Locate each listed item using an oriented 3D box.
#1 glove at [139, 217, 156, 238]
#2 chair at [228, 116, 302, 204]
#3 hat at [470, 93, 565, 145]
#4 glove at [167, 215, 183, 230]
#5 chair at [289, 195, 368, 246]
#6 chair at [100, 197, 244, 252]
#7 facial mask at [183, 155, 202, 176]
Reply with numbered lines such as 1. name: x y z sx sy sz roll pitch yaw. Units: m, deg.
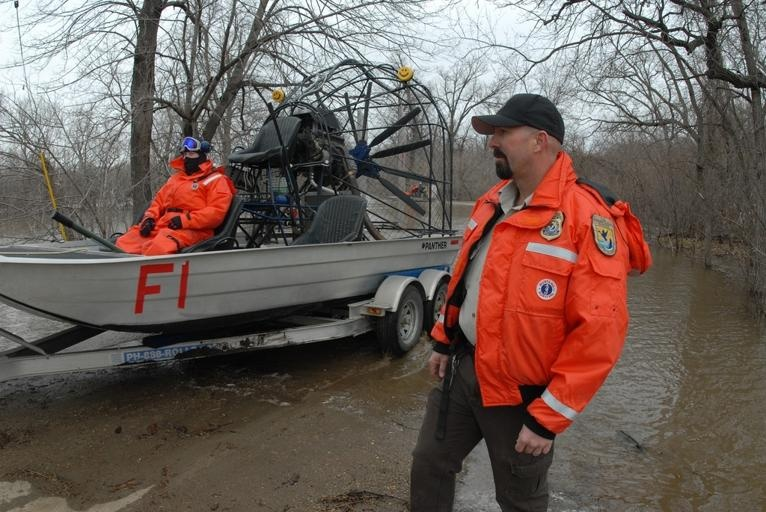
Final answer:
1. glove: -3.053 -0.371 7.771 0.168 0.233 0.091 23 -11 -10
2. chair: -1.741 -1.486 8.775 0.982 1.206 1.010 3 5 13
3. hat: 1.202 -1.182 5.058 0.773 0.418 0.530 14 5 -6
4. glove: -2.662 -0.426 7.712 0.175 0.144 0.115 -14 -1 0
5. chair: -0.769 -0.435 8.427 0.800 0.805 1.119 5 5 26
6. chair: -2.514 -0.417 8.244 1.229 0.847 0.901 -2 11 -9
7. facial mask: -2.634 -1.242 8.261 0.181 0.210 0.245 4 0 24
